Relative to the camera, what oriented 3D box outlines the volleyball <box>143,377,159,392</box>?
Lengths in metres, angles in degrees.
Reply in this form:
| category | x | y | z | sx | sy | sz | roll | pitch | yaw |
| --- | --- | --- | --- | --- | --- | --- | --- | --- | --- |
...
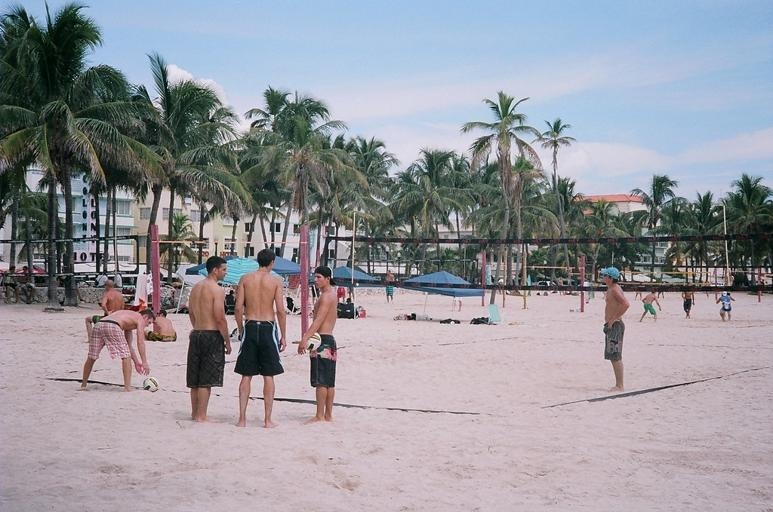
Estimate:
| category | x | y | z | sx | sy | sz | roll | pitch | yaw |
| --- | --- | --- | --- | --- | --- | --- | --- | --- | --- |
| volleyball | -3.962 | 2.144 | 15.187 | 0.208 | 0.138 | 0.272 | 15 | 12 | -4 |
